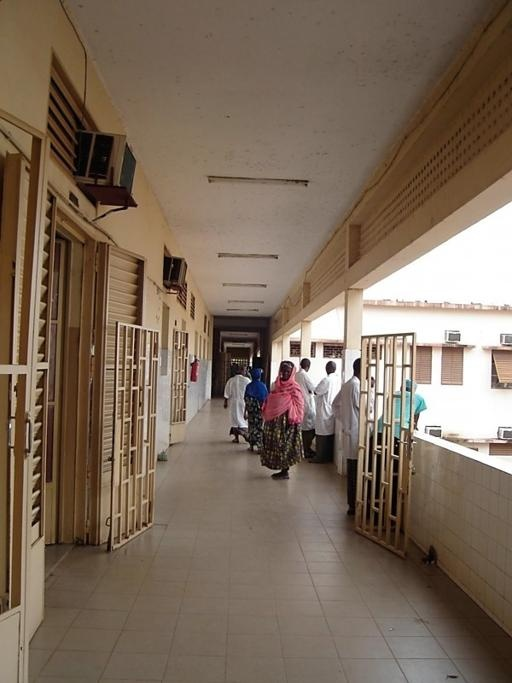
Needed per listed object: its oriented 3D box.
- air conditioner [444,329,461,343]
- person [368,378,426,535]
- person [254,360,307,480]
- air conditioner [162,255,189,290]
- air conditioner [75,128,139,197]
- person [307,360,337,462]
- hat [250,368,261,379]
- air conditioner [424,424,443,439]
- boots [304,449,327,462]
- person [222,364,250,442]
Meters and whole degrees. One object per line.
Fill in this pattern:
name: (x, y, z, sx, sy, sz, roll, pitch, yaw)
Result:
air conditioner: (4.799, -0.140, 11.931, 0.405, 0.520, 0.249, 2, 6, 7)
person: (1.146, 0.942, 4.044, 0.495, 1.255, 1.620, 0, -4, 19)
person: (0.314, 0.945, 5.857, 0.483, 1.412, 0.294, 2, -3, 0)
air conditioner: (-1.135, -0.832, 6.915, 0.326, 0.580, 0.691, 1, -4, 2)
air conditioner: (-0.952, -1.127, 3.048, 0.239, 0.377, 0.475, 7, 7, -7)
person: (1.011, 1.124, 7.136, 0.330, 1.293, 0.539, 1, -3, 8)
hat: (-0.006, 0.495, 7.407, 0.102, 0.180, 0.158, -2, 7, -2)
air conditioner: (4.400, 2.240, 12.092, 0.344, 0.262, 0.807, 0, -5, 31)
boots: (0.870, 1.709, 7.185, 0.328, 0.293, 0.138, 0, 3, 7)
person: (-0.300, 1.050, 8.573, 0.498, 1.504, 0.411, -2, 22, -12)
